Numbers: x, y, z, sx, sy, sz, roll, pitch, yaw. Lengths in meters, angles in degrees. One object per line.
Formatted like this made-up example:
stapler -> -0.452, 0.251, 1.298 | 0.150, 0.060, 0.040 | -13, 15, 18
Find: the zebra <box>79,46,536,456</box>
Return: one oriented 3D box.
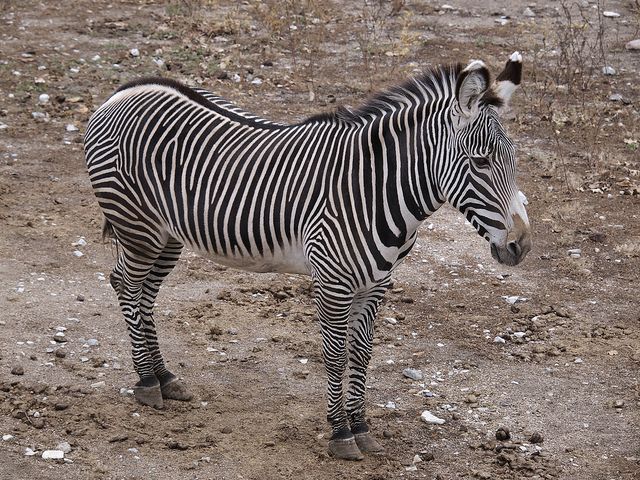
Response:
zebra -> -0.112, 0.307, 8.425 | 5.071, 3.261, 1.456 | 10, 15, 16
